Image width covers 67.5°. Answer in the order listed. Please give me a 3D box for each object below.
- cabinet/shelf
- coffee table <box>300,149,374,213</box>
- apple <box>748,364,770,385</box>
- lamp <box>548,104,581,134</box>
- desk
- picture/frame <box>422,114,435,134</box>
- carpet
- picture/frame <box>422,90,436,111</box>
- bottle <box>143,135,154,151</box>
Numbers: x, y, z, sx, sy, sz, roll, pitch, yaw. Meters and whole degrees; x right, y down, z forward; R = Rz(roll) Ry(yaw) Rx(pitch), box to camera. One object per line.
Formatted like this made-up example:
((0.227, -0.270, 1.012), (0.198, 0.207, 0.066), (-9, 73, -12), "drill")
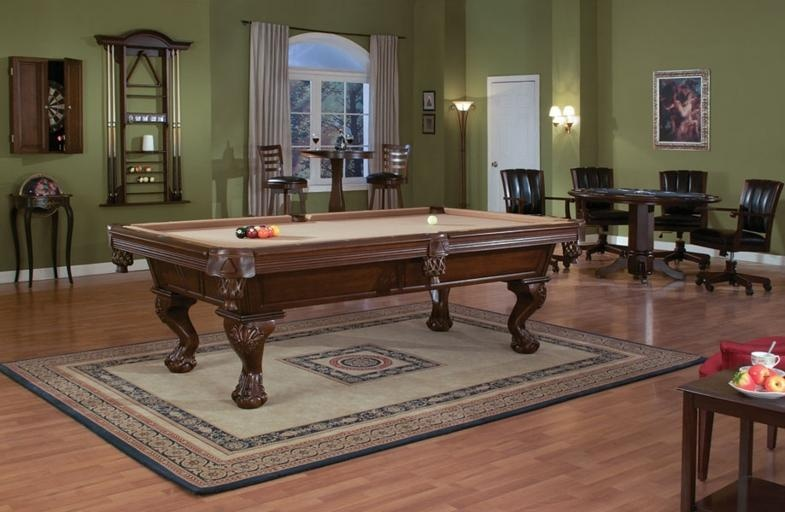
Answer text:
((-4.462, -1.947, 7.615), (0.959, 1.225, 0.363), (-7, 17, -24), "cabinet/shelf")
((-0.856, -1.154, 9.073), (0.966, 0.966, 1.981), (-2, 12, -6), "coffee table")
((1.570, 0.507, 2.530), (0.102, 0.068, 0.100), (-4, -8, 14), "apple")
((3.042, -2.439, 10.481), (0.228, 0.500, 0.479), (-12, 17, -35), "lamp")
((-0.939, 0.083, 4.778), (3.405, 0.832, 2.012), (-6, 9, -36), "desk")
((0.695, -2.522, 11.246), (0.325, 0.379, 0.078), (10, 19, 36), "picture/frame")
((-0.414, 0.899, 4.827), (4.402, 0.041, 2.742), (-6, 12, -31), "carpet")
((0.696, -2.959, 11.214), (0.299, 0.391, 0.096), (11, 20, 39), "picture/frame")
((-3.432, -1.593, 8.287), (0.132, 0.224, 0.208), (-2, 14, -5), "bottle")
